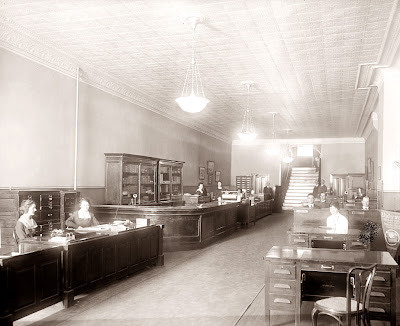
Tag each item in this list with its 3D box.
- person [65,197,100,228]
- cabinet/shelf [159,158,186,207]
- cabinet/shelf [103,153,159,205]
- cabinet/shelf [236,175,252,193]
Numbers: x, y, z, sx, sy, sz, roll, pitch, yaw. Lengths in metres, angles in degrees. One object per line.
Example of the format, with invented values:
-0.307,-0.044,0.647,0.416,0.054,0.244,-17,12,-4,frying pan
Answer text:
-2.424,1.009,6.472,0.963,0.634,0.586,-1,-3,45,person
-0.960,0.691,11.051,0.330,1.411,1.525,-2,-5,17,cabinet/shelf
-1.954,0.451,9.023,0.480,1.243,1.426,-2,-4,23,cabinet/shelf
2.499,1.205,18.355,0.805,1.071,0.359,-3,-7,35,cabinet/shelf
